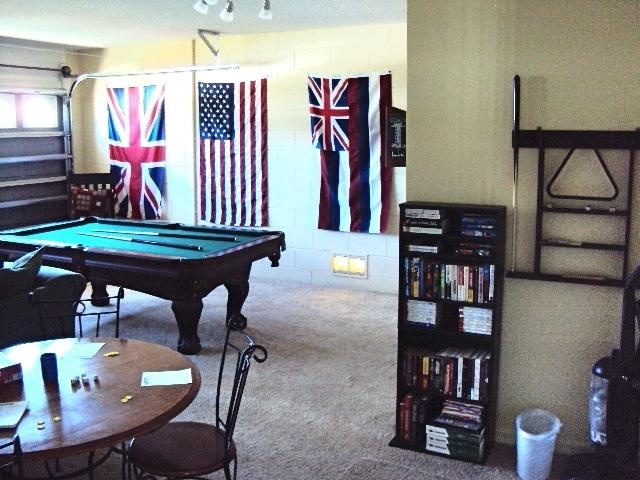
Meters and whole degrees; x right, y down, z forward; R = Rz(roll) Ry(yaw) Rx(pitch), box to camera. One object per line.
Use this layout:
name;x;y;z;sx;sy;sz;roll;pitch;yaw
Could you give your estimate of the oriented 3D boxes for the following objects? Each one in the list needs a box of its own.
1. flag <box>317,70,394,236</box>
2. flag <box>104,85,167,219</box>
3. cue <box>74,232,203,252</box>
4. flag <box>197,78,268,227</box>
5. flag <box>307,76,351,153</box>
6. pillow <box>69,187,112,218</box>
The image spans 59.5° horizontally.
flag;0.385;-1.092;7.221;1.150;2.036;0.237;5;15;21
flag;-2.718;-1.320;8.445;0.943;1.990;0.319;5;15;21
cue;-1.776;0.025;5.578;1.505;0.148;0.057;5;10;29
flag;-1.202;-1.222;7.909;1.079;2.038;0.251;4;15;18
flag;0.144;-1.649;7.227;0.861;1.232;0.058;10;24;25
pillow;-3.336;-0.561;8.234;0.610;0.608;0.212;-2;40;-27
